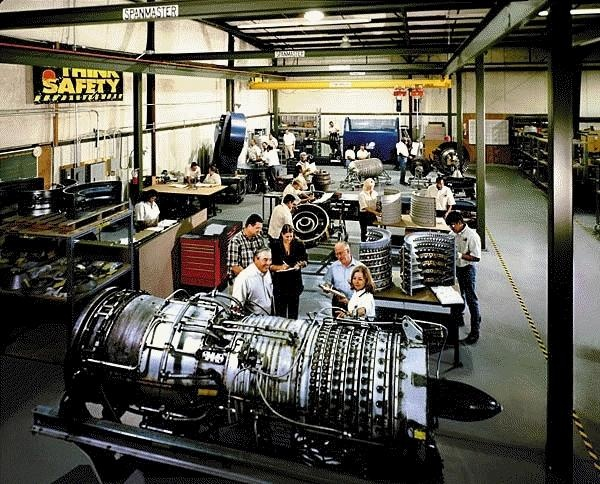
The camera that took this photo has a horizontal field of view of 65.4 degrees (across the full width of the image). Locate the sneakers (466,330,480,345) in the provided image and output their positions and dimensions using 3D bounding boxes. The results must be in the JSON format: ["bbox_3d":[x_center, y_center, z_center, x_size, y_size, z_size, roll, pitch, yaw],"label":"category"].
[{"bbox_3d":[2.405,1.340,6.561,0.116,0.274,0.250,-2,-1,39],"label":"sneakers"}]

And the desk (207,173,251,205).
[{"bbox_3d":[-2.101,-1.689,15.110,0.779,0.837,0.888,2,6,10],"label":"desk"}]

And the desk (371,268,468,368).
[{"bbox_3d":[1.686,0.817,6.190,1.262,0.770,1.119,3,11,23],"label":"desk"}]
